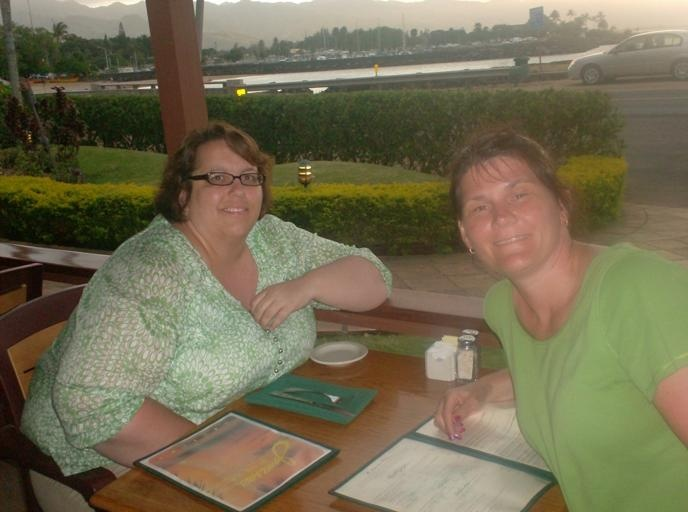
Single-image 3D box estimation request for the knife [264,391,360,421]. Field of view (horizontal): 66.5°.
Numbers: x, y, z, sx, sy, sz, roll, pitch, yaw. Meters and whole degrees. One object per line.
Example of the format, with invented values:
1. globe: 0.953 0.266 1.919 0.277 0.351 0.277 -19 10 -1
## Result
1. knife: -0.102 0.463 1.667 0.201 0.011 0.101 10 14 35
